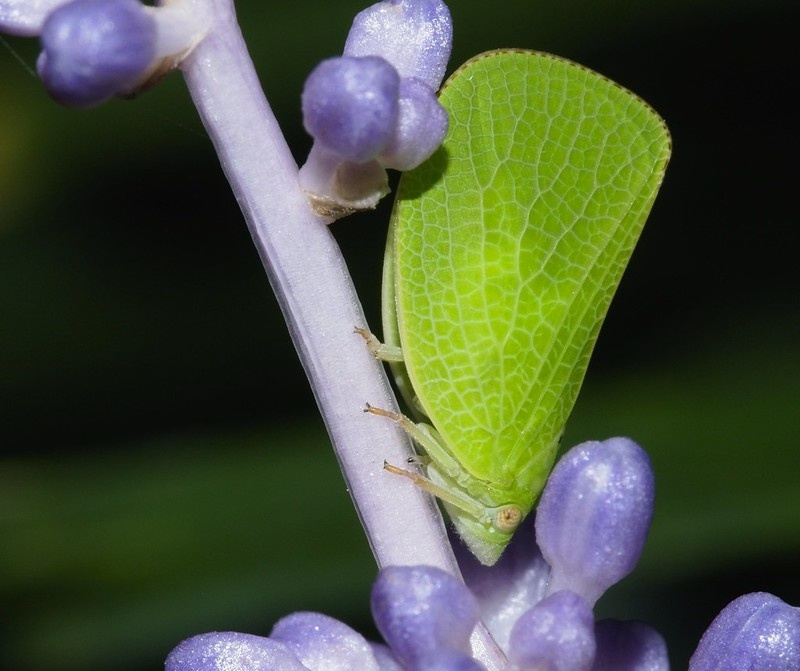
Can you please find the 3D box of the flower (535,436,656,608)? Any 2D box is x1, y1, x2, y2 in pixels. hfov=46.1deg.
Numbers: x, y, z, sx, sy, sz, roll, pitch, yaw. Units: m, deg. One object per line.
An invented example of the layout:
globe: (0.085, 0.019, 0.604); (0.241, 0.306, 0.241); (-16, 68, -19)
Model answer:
flower: (0.228, 0.211, 1.124); (0.114, 0.054, 0.196); (18, 87, 4)

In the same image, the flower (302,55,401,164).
flower: (-0.052, -0.235, 0.985); (0.100, 0.089, 0.079); (0, 54, -1)
